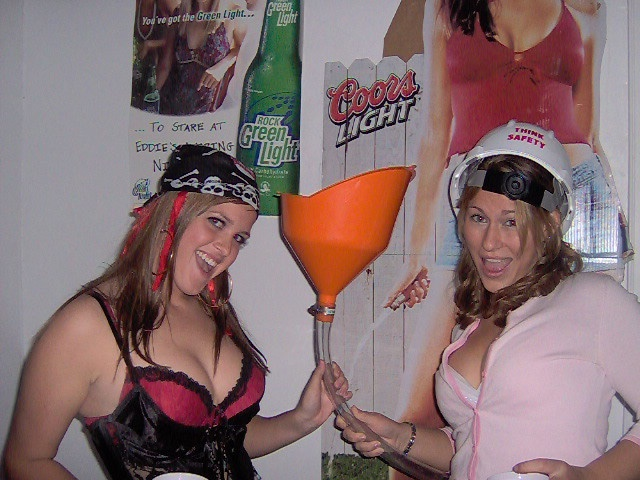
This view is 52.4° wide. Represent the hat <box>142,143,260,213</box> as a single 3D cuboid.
[{"bbox_3d":[-0.413,-0.216,2.485,0.384,0.262,0.401,0,-7,26],"label":"hat"}]

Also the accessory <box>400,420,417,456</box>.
[{"bbox_3d":[0.334,0.744,2.442,0.024,0.096,0.083,11,-11,-34],"label":"accessory"}]

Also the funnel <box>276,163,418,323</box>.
[{"bbox_3d":[0.075,-0.003,2.377,0.387,0.681,0.441,4,16,-19],"label":"funnel"}]

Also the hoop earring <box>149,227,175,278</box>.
[{"bbox_3d":[-0.546,0.041,2.314,0.044,0.251,0.056,10,-3,15],"label":"hoop earring"}]

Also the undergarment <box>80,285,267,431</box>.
[{"bbox_3d":[-0.480,0.532,2.266,0.520,0.244,0.413,28,-22,-6],"label":"undergarment"}]

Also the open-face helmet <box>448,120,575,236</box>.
[{"bbox_3d":[0.694,-0.293,2.328,0.328,0.454,0.377,4,43,28],"label":"open-face helmet"}]
